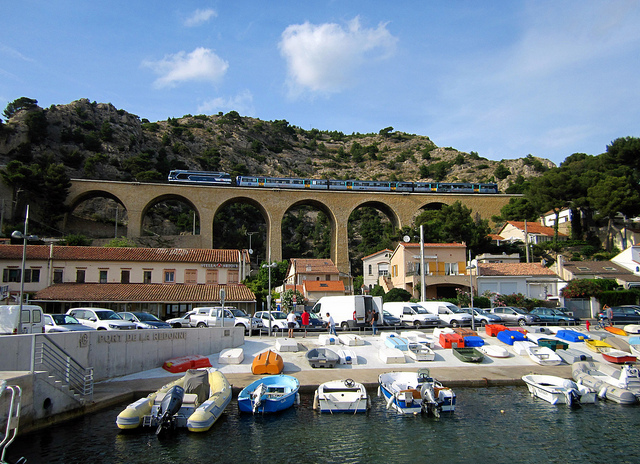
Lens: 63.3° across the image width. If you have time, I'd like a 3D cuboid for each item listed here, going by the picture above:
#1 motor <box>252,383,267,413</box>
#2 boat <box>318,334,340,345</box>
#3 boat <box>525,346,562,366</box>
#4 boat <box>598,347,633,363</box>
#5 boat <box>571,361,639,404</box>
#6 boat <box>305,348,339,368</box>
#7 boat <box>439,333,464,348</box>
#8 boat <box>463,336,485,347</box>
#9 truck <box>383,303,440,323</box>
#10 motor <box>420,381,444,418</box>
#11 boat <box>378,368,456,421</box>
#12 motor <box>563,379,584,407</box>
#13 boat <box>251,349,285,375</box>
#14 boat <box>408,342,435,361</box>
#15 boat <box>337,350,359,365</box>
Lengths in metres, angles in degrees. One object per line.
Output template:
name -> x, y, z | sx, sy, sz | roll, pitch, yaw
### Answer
motor -> -2.835, 7.556, 23.932 | 0.419, 0.300, 1.166 | 0, 34, 16
boat -> 0.594, 6.761, 32.793 | 1.092, 0.529, 1.186 | -2, 10, -17
boat -> 13.137, 7.185, 30.395 | 1.296, 0.661, 1.571 | -2, 10, -17
boat -> 17.575, 7.279, 31.084 | 1.289, 0.546, 1.888 | 0, 10, -6
boat -> 14.673, 7.731, 26.706 | 1.834, 1.140, 2.791 | 1, -5, -6
boat -> 0.116, 7.086, 29.191 | 1.706, 0.800, 0.879 | 0, 10, -3
boat -> 8.237, 6.754, 32.128 | 1.139, 0.656, 1.348 | -1, 10, -13
boat -> 9.619, 6.819, 32.357 | 1.117, 0.363, 0.815 | 2, 10, 8
truck -> 7.048, 6.254, 40.620 | 1.376, 1.122, 3.247 | 6, -11, -45
motor -> 5.143, 7.736, 24.026 | 0.697, 0.569, 1.482 | 5, 22, -12
boat -> 4.672, 7.771, 25.347 | 3.350, 1.598, 4.805 | 1, -4, -9
motor -> 12.390, 7.886, 25.313 | 0.912, 0.854, 1.134 | 4, 10, 18
boat -> -2.848, 7.094, 27.929 | 1.648, 0.864, 1.499 | 0, 10, -4
boat -> 5.932, 7.007, 30.470 | 1.561, 0.774, 1.142 | 4, 10, 19
boat -> 1.642, 7.222, 29.741 | 1.193, 0.480, 1.090 | 1, 10, 1
